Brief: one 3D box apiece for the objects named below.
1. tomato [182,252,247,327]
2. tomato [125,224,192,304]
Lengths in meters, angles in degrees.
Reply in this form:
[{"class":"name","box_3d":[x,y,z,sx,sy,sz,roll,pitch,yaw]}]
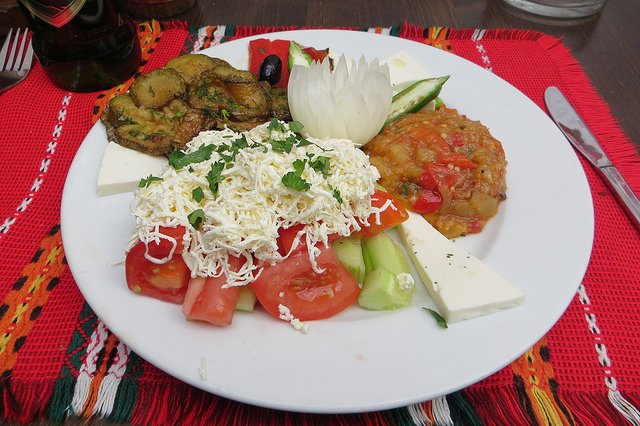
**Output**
[{"class":"tomato","box_3d":[-0.497,0.400,2.223,0.242,0.096,0.313,16,26,-20]},{"class":"tomato","box_3d":[-0.801,0.304,2.396,0.325,0.134,0.455,13,1,-13]}]
